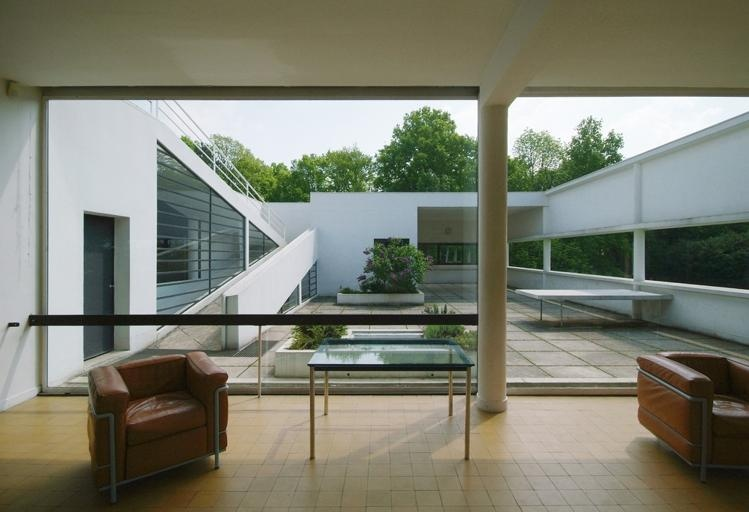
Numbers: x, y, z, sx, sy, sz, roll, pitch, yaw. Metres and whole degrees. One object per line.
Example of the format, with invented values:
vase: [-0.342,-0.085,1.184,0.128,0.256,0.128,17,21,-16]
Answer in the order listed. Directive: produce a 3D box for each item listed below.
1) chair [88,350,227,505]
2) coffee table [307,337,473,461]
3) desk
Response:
chair: [-2.412,1.784,5.993,1.478,1.141,1.189,-5,6,-42]
coffee table: [0.161,1.798,6.093,1.675,0.924,1.302,0,-3,0]
desk: [3.619,0.883,9.186,0.915,0.771,3.180,-2,1,-11]
